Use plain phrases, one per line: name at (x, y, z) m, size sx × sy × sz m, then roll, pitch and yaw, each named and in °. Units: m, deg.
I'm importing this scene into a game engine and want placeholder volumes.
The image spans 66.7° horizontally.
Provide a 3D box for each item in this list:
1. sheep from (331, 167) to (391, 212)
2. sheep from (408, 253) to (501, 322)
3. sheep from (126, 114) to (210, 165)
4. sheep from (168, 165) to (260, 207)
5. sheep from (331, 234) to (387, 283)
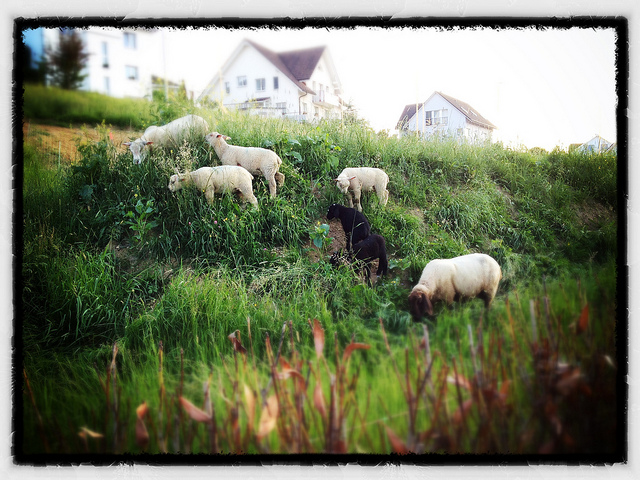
sheep at (0.433, -0.536, 5.077) m, size 0.709 × 0.464 × 0.196 m, roll -10°, pitch 12°, yaw -36°
sheep at (1.324, 0.465, 4.641) m, size 0.967 × 0.648 × 0.426 m, roll -10°, pitch 8°, yaw -13°
sheep at (-1.789, -1.041, 5.433) m, size 0.248 × 0.520 × 0.979 m, roll 9°, pitch 32°, yaw 14°
sheep at (-1.076, -0.542, 5.027) m, size 0.896 × 0.516 × 0.251 m, roll -5°, pitch 27°, yaw -19°
sheep at (0.451, 0.175, 4.708) m, size 0.539 × 0.428 × 0.160 m, roll -8°, pitch 5°, yaw -32°
